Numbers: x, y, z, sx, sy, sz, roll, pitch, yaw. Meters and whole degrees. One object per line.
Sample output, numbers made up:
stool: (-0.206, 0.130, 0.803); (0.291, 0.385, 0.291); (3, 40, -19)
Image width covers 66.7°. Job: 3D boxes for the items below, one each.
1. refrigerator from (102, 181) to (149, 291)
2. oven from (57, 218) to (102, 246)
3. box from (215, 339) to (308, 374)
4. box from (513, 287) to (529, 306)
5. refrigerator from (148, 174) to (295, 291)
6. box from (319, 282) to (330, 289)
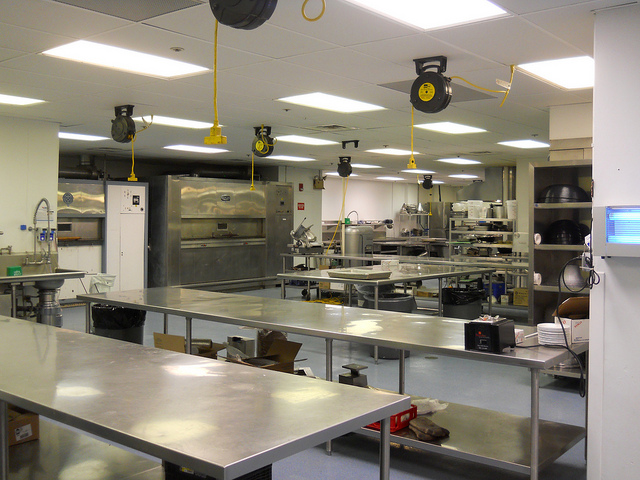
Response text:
refrigerator: (-3.860, -0.093, 9.821); (0.315, 2.156, 0.927); (3, 3, 32)
oven: (-4.557, -0.166, 9.308); (0.463, 0.577, 0.918); (-2, -1, 41)
box: (-0.318, 0.874, 3.611); (0.382, 0.130, 0.402); (-5, 6, -39)
box: (3.472, 0.990, 8.429); (0.223, 0.281, 0.166); (1, 3, -2)
refrigerator: (-2.283, -0.140, 10.949); (3.030, 2.178, 1.168); (0, -1, -41)
box: (0.124, 0.913, 9.779); (0.184, 0.139, 0.454); (1, 3, 2)
